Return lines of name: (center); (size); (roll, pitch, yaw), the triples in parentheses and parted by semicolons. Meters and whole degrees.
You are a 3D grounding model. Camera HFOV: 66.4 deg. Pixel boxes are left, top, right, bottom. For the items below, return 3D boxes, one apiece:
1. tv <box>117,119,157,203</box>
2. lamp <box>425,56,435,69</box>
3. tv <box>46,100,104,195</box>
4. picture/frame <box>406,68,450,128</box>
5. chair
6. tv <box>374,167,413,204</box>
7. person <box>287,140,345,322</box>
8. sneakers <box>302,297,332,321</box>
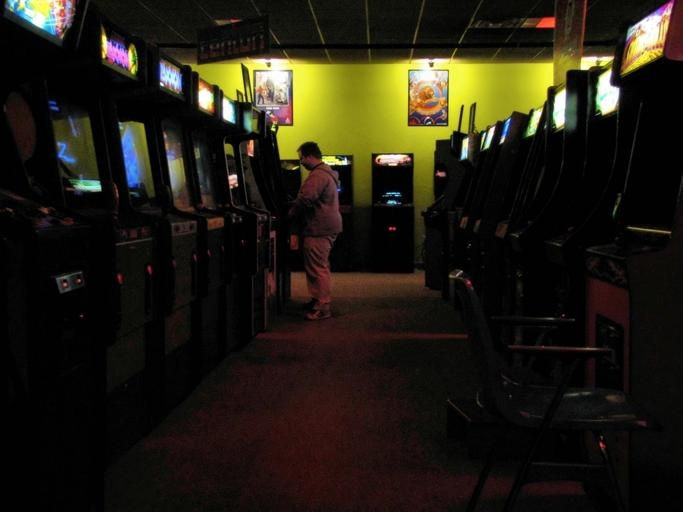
tv: (-1.245, -0.583, 3.175); (0.188, 0.492, 0.356); (1, 8, 7)
lamp: (1.455, -3.142, 8.529); (0.102, 0.125, 0.090); (0, 2, -2)
tv: (-1.283, -0.528, 2.554); (0.178, 0.450, 0.328); (1, 8, 9)
picture/frame: (1.468, -2.681, 8.763); (1.012, 1.231, 0.090); (0, 1, 0)
chair: (0.755, 0.514, 2.335); (0.981, 1.183, 0.760); (-2, -6, 6)
tv: (0.862, -1.175, 8.582); (0.623, 0.567, 0.297); (0, -1, 3)
person: (-0.273, -0.261, 5.330); (0.521, 1.776, 0.462); (-1, 8, -6)
sneakers: (-0.273, 0.570, 5.427); (0.152, 0.237, 0.345); (-3, -12, 20)
